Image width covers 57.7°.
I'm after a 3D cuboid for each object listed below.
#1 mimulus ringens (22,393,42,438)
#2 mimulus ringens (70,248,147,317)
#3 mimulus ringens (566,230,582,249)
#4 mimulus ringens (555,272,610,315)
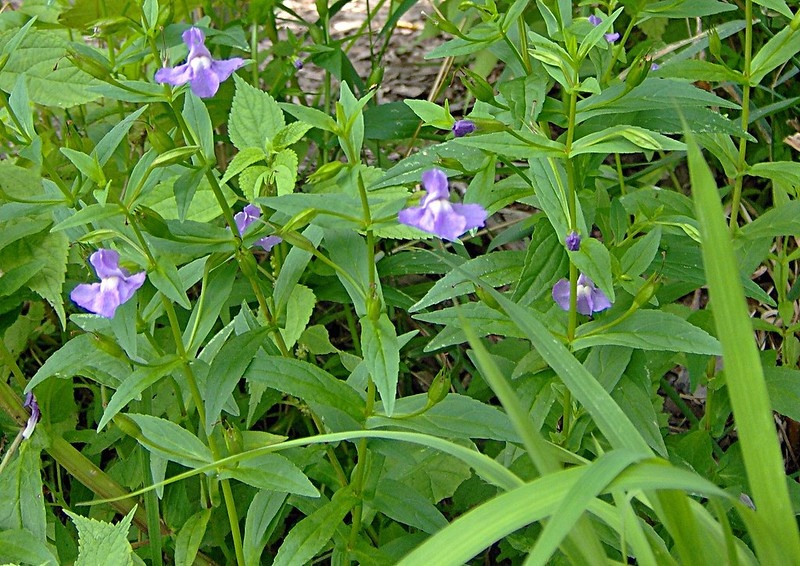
[{"bbox_3d":[-1.083,0.392,2.123,0.049,0.041,0.142,-34,46,26],"label":"mimulus ringens"},{"bbox_3d":[-0.726,-0.003,1.780,0.182,0.132,0.107,-28,34,-15],"label":"mimulus ringens"},{"bbox_3d":[0.442,-0.102,1.864,0.038,0.050,0.026,-18,32,-1],"label":"mimulus ringens"},{"bbox_3d":[0.513,0.024,2.076,0.126,0.125,0.055,-32,16,1],"label":"mimulus ringens"}]
